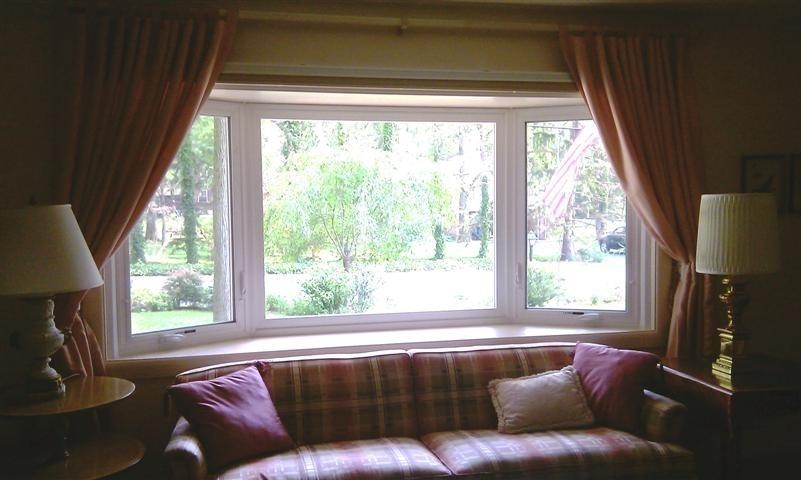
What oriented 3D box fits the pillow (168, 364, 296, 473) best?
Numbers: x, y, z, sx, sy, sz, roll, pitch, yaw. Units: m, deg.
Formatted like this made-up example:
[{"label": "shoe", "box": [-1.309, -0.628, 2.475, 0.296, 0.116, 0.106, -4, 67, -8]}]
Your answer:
[{"label": "pillow", "box": [-0.908, 0.973, 3.400, 0.524, 0.440, 0.317, -2, 2, -42]}]
